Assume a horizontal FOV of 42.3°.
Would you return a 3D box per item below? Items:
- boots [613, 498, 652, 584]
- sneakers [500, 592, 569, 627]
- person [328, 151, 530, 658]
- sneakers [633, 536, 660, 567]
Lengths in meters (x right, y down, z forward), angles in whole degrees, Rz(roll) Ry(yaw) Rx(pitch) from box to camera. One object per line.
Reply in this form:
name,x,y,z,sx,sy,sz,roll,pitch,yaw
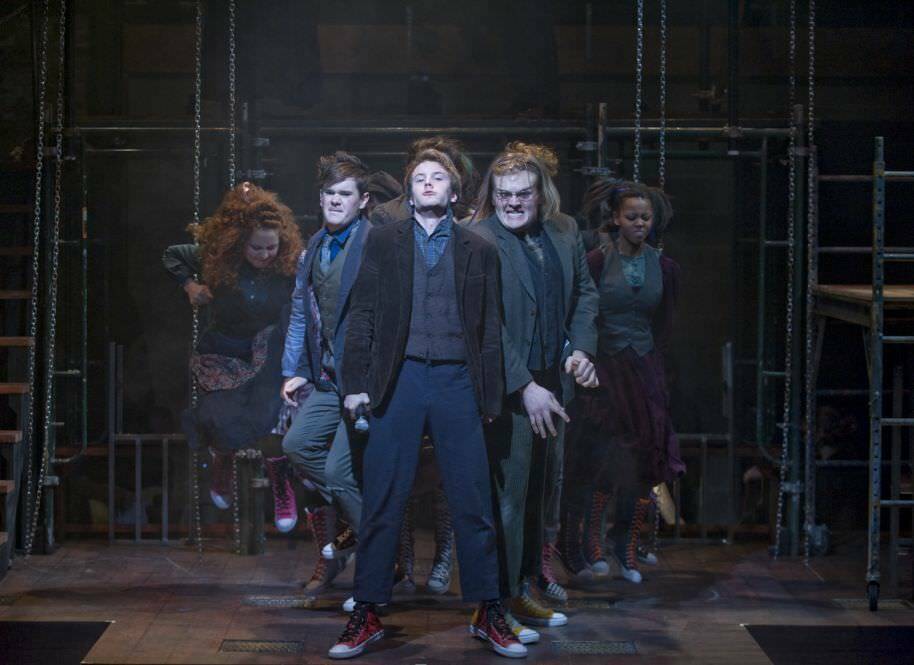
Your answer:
boots,1.100,1.429,7.533,0.134,0.251,0.378,8,9,-6
sneakers,0.439,1.604,6.805,0.439,0.173,0.142,1,0,2
person,-0.190,0.241,6.359,0.845,2.390,0.595,-2,11,-6
sneakers,1.243,1.453,7.819,0.096,0.106,0.281,0,8,6
